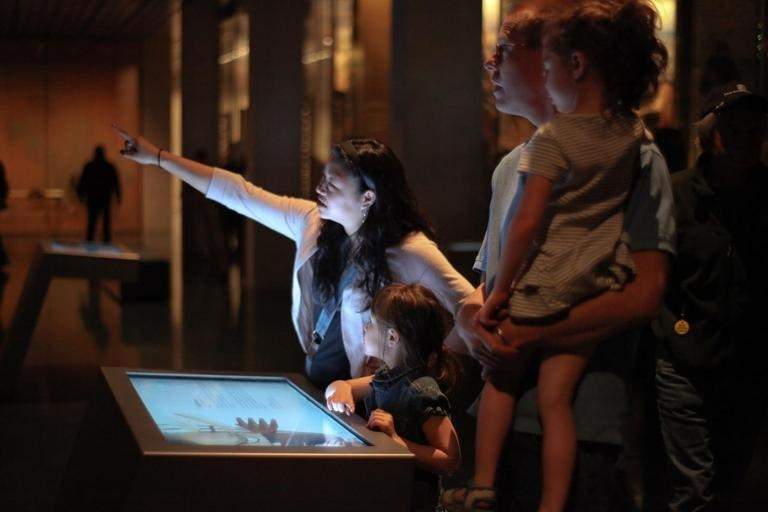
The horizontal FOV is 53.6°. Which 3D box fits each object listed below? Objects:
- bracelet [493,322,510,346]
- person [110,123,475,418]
[{"bbox_3d":[0.498,0.330,3.243,0.061,0.081,0.061,7,-13,-6],"label":"bracelet"},{"bbox_3d":[-0.527,0.031,4.106,1.404,1.434,0.519,15,21,39],"label":"person"}]
